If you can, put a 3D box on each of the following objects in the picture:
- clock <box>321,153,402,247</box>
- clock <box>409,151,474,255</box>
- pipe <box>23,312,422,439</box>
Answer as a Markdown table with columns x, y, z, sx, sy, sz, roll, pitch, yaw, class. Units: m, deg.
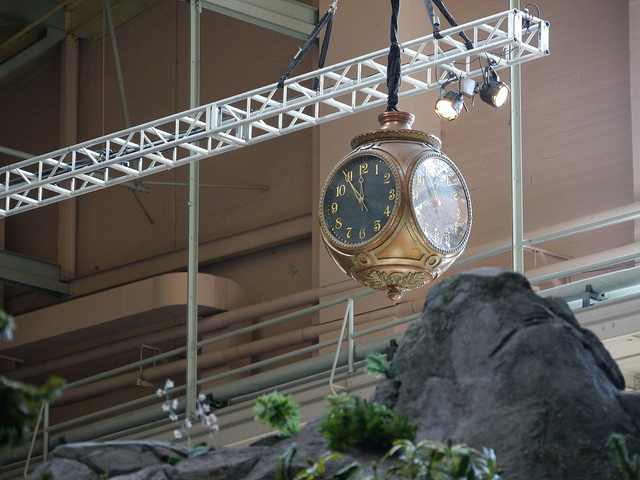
| x | y | z | sx | sy | sz | roll | pitch | yaw | class |
| --- | --- | --- | --- | --- | --- | --- | --- | --- | --- |
| 0.452 | -0.395 | 19.556 | 1.141 | 0.939 | 0.102 | 0 | -10 | 18 | clock |
| 1.215 | -0.397 | 19.587 | 0.654 | 0.979 | 0.343 | 8 | -31 | -40 | clock |
| -1.118 | 1.743 | 26.607 | 5.363 | 0.637 | 1.735 | -18 | -22 | 25 | pipe |
